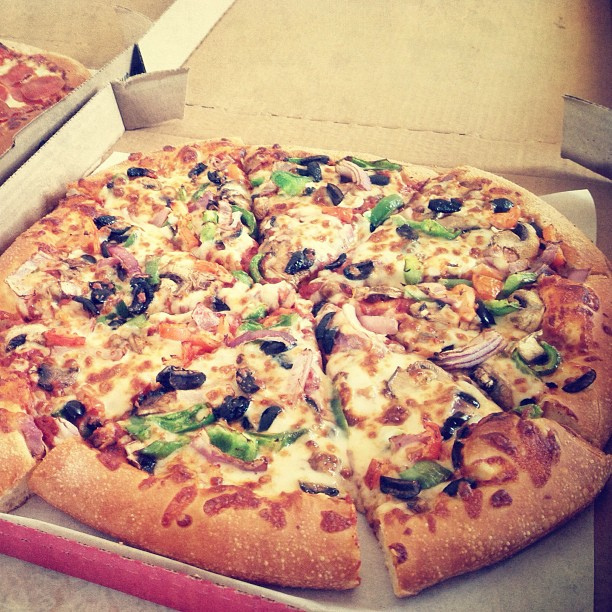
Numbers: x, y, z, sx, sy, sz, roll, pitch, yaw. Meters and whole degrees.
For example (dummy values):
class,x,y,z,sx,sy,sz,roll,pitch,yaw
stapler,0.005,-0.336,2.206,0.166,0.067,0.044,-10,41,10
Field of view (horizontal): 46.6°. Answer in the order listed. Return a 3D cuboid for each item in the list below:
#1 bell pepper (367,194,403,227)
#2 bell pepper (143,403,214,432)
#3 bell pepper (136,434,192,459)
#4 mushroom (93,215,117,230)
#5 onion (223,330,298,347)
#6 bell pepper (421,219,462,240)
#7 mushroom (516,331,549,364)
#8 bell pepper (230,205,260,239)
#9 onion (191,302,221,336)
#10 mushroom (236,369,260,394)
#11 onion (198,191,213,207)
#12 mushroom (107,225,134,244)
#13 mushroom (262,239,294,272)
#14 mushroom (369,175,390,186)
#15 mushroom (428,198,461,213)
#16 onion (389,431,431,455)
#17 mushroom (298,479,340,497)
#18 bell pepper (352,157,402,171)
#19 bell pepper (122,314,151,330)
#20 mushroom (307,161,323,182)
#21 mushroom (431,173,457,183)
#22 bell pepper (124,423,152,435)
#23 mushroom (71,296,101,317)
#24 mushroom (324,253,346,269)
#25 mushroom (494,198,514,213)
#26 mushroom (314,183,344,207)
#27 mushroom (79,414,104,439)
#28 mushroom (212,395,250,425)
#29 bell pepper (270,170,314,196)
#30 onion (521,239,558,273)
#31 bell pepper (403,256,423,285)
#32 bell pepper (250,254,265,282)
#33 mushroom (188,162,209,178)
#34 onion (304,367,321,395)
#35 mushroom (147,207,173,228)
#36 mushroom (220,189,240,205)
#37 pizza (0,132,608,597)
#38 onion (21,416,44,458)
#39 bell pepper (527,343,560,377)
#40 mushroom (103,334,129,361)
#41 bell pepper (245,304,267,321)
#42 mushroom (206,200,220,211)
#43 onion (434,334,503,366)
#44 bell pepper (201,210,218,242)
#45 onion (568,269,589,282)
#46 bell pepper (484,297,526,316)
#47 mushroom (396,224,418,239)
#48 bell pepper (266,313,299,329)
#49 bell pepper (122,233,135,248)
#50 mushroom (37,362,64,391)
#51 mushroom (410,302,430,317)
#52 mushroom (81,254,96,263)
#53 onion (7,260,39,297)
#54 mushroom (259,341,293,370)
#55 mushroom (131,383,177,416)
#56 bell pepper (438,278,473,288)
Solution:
class,x,y,z,sx,sy,sz,roll,pitch,yaw
bell pepper,0.339,-0.419,3.074,0.160,0.040,0.156,-27,-8,-18
bell pepper,-0.402,0.363,2.268,0.214,0.053,0.078,-7,20,-10
bell pepper,-0.443,0.436,2.194,0.124,0.023,0.069,-19,32,-27
mushroom,-0.864,-0.361,3.051,0.099,0.051,0.067,-9,21,-11
onion,-0.171,0.125,2.561,0.312,0.068,0.069,-3,-16,11
bell pepper,0.543,-0.306,2.896,0.155,0.039,0.070,17,67,5
mushroom,0.777,0.145,2.451,0.109,0.039,0.098,-31,71,-16
bell pepper,-0.255,-0.377,3.141,0.056,0.152,0.146,-36,77,-12
onion,-0.378,0.049,2.660,0.099,0.029,0.122,-30,77,-42
mushroom,-0.195,0.248,2.349,0.067,0.061,0.085,-11,21,-14
onion,-0.454,-0.485,3.210,0.087,0.019,0.065,2,50,20
mushroom,-0.781,-0.301,3.003,0.093,0.024,0.072,-3,47,4
mushroom,-0.088,-0.204,2.987,0.151,0.041,0.128,27,81,27
mushroom,0.335,-0.570,3.220,0.091,0.045,0.057,-3,21,4
mushroom,0.572,-0.415,2.960,0.113,0.051,0.069,12,26,38
onion,0.319,0.417,2.188,0.134,0.031,0.055,-16,59,9
mushroom,0.038,0.545,2.122,0.104,0.019,0.046,8,34,-12
bell pepper,0.342,-0.662,3.330,0.169,0.031,0.095,6,19,-22
bell pepper,-0.610,0.061,2.627,0.096,0.020,0.113,5,20,24
mushroom,0.039,-0.612,3.250,0.066,0.034,0.098,-16,61,-15
mushroom,0.634,-0.584,3.236,0.086,0.016,0.054,-23,29,-39
bell pepper,-0.553,0.388,2.255,0.049,0.013,0.042,22,39,23
mushroom,-0.820,-0.001,2.653,0.091,0.072,0.053,12,29,37
mushroom,0.125,-0.181,2.931,0.074,0.021,0.070,-27,-7,22
mushroom,0.824,-0.418,2.956,0.075,0.045,0.090,1,20,14
mushroom,0.102,-0.489,3.138,0.103,0.083,0.126,-22,26,-37
mushroom,-0.695,0.397,2.296,0.082,0.066,0.021,28,-10,-1
mushroom,-0.232,0.327,2.268,0.107,0.033,0.081,-39,70,-4
bell pepper,-0.063,-0.561,3.224,0.164,0.099,0.127,-17,24,-29
onion,0.930,-0.195,2.805,0.104,0.035,0.145,38,86,20
bell pepper,0.416,-0.136,2.745,0.066,0.094,0.083,-1,23,13
bell pepper,-0.202,-0.160,2.964,0.064,0.095,0.119,-5,21,4
mushroom,-0.517,-0.653,3.417,0.098,0.022,0.054,-35,72,-19
onion,0.021,0.263,2.430,0.077,0.071,0.025,5,-18,-14
mushroom,-0.642,-0.389,3.114,0.083,0.028,0.099,17,47,10
mushroom,-0.343,-0.493,3.202,0.076,0.055,0.101,-4,20,3
pizza,-0.025,0.212,2.440,1.558,0.185,1.393,3,35,2
onion,-0.854,0.414,2.217,0.067,0.109,0.033,-22,-8,-46
bell pepper,0.823,0.184,2.441,0.089,0.083,0.117,6,23,26
mushroom,-0.668,0.145,2.487,0.088,0.023,0.084,2,52,-8
bell pepper,-0.187,0.025,2.725,0.039,0.050,0.119,8,23,31
mushroom,-0.411,-0.444,3.124,0.052,0.020,0.057,-7,34,0
onion,0.573,0.158,2.473,0.248,0.045,0.177,-2,19,-1
bell pepper,-0.412,-0.342,3.039,0.100,0.031,0.113,-7,68,-10
onion,1.063,-0.120,2.765,0.073,0.036,0.053,3,22,19
bell pepper,0.723,-0.004,2.601,0.118,0.032,0.054,0,38,-8
mushroom,0.414,-0.301,2.893,0.083,0.044,0.075,-5,20,-1
bell pepper,-0.087,0.053,2.654,0.114,0.025,0.045,-20,58,-11
bell pepper,-0.740,-0.272,2.962,0.035,0.013,0.054,15,58,17
mushroom,-0.860,0.236,2.367,0.077,0.075,0.077,2,23,19
mushroom,0.423,0.011,2.644,0.066,0.021,0.046,-18,55,7
mushroom,-0.881,-0.192,2.890,0.060,0.029,0.048,15,28,42
onion,-1.083,-0.106,2.720,0.131,0.035,0.135,37,60,18
mushroom,-0.095,0.168,2.466,0.077,0.071,0.132,-18,24,-29
mushroom,-0.495,0.310,2.338,0.149,0.033,0.112,5,42,11
bell pepper,0.574,-0.088,2.726,0.129,0.027,0.048,-2,20,7
